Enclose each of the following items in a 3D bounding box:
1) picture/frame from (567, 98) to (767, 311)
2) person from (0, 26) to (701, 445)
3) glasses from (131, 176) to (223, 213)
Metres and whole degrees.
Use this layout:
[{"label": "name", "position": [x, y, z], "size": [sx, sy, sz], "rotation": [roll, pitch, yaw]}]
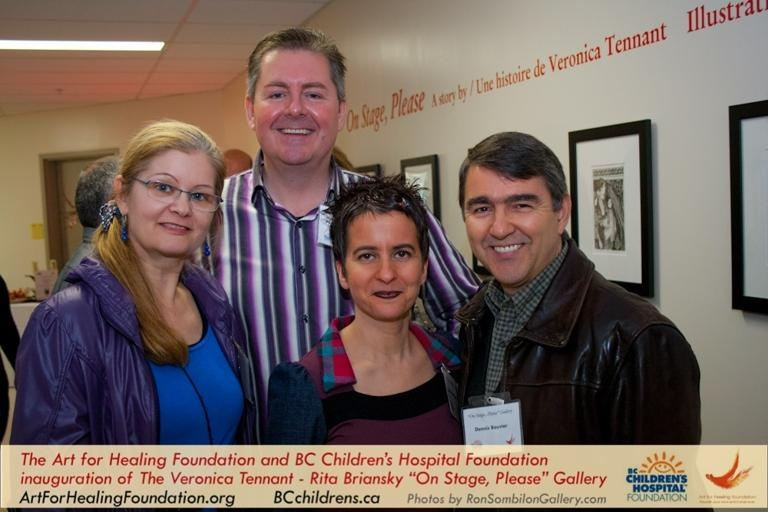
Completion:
[{"label": "picture/frame", "position": [1.433, -0.251, 2.823], "size": [0.029, 0.796, 1.109], "rotation": [-3, 4, -34]}, {"label": "person", "position": [-0.360, -0.133, 2.606], "size": [2.241, 1.631, 0.758], "rotation": [-4, 2, -10]}, {"label": "glasses", "position": [-0.852, -0.256, 2.377], "size": [0.328, 0.141, 0.069], "rotation": [-5, 2, -25]}]
